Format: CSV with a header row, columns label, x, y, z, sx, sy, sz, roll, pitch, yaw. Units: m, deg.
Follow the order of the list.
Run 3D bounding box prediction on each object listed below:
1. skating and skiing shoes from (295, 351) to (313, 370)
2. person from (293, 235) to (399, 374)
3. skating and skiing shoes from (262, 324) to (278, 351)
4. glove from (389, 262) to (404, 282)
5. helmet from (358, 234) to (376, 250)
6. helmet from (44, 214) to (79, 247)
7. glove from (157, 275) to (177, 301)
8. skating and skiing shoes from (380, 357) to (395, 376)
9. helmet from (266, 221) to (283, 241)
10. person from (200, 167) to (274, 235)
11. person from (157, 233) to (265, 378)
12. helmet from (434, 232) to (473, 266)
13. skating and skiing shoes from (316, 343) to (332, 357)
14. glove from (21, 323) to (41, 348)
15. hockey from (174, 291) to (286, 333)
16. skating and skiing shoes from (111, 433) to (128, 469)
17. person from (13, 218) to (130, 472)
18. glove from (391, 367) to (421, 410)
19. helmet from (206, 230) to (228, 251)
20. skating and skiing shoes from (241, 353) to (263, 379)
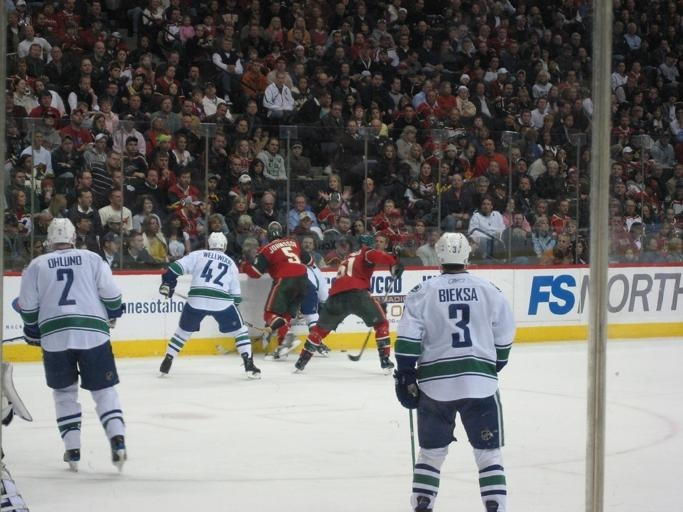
label,x,y,z,sx,sy,sz,roll,pitch,yaw
skating and skiing shoes,-0.476,1.315,16.988,0.164,0.295,0.117,29,-3,21
person,0.121,0.673,17.022,1.147,1.513,0.453,0,3,0
skating and skiing shoes,-0.930,1.095,18.123,0.226,0.299,0.308,-2,-23,8
glove,0.719,0.182,17.108,0.159,0.187,0.214,-2,34,14
helmet,0.348,-0.182,17.434,0.196,0.197,0.159,-9,5,6
helmet,-2.974,-0.257,14.129,0.237,0.321,0.306,-3,8,-11
glove,-2.219,0.402,16.898,0.198,0.255,0.097,6,17,-28
skating and skiing shoes,0.570,1.387,16.890,0.102,0.208,0.298,-2,13,-7
helmet,-0.906,-0.331,18.041,0.184,0.259,0.254,5,-1,-10
person,-1.423,-0.749,18.268,0.650,0.876,0.308,10,3,-17
person,-1.741,0.658,17.314,1.288,1.900,0.803,9,-26,-10
helmet,1.138,-0.066,13.231,0.260,0.326,0.331,1,7,4
skating and skiing shoes,-0.235,1.265,18.032,0.184,0.130,0.309,2,-11,0
glove,-3.227,0.827,14.021,0.179,0.255,0.091,-2,-2,6
hockey,-1.468,0.728,17.275,1.052,0.059,0.155,25,26,-5
skating and skiing shoes,-2.301,2.021,13.829,0.166,0.379,0.250,-1,3,-8
person,-2.770,1.076,13.909,1.120,2.281,0.473,0,3,2
glove,0.635,1.275,12.928,0.256,0.364,0.139,5,7,42
helmet,-1.564,-0.189,16.924,0.205,0.252,0.271,1,8,-3
skating and skiing shoes,-1.113,1.359,16.710,0.229,0.306,0.370,0,3,-3
